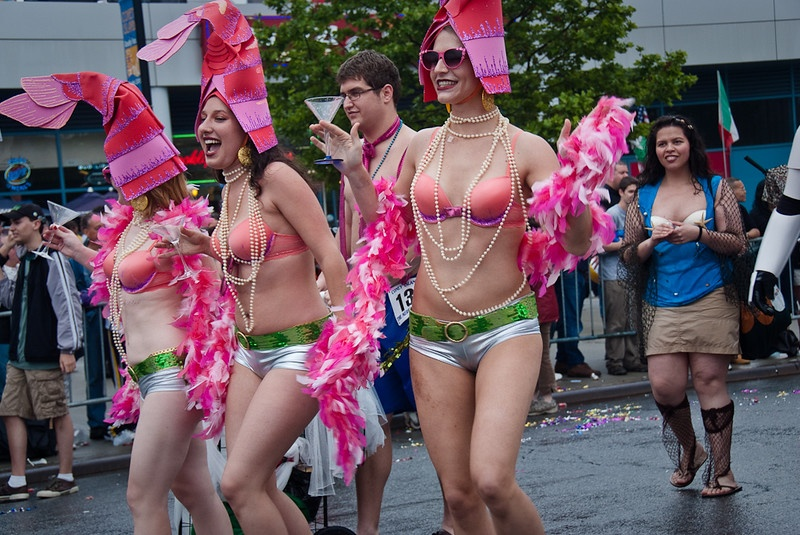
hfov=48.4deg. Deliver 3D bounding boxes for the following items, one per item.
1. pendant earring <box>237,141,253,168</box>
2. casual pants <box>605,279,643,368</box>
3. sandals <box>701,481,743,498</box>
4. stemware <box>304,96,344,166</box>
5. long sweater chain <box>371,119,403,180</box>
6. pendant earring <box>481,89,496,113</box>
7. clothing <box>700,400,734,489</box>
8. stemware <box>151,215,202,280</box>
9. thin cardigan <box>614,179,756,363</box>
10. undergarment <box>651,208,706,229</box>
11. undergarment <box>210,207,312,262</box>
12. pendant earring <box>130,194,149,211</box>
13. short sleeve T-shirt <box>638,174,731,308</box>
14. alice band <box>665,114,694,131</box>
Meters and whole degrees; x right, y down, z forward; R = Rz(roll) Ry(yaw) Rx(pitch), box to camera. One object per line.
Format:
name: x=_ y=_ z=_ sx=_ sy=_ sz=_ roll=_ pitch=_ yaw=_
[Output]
pendant earring: x=-1.024 y=-0.731 z=5.915 sx=0.106 sy=0.128 sz=0.033 roll=-1 pitch=-1 yaw=10
casual pants: x=2.948 y=0.809 z=11.768 sx=0.499 sy=1.189 sz=0.338 roll=14 pitch=-25 yaw=-12
sandals: x=2.601 y=1.773 z=7.159 sx=0.269 sy=0.073 sz=0.132 roll=0 pitch=-5 yaw=-8
stemware: x=-0.492 y=-0.880 z=5.771 sx=0.376 sy=0.472 sz=0.393 roll=-1 pitch=-3 yaw=-5
long sweater chain: x=-0.070 y=-0.957 z=6.966 sx=0.026 sy=0.565 sz=0.163 roll=34 pitch=-16 yaw=-13
pendant earring: x=0.559 y=-1.049 z=5.664 sx=0.095 sy=0.127 sz=0.030 roll=3 pitch=2 yaw=-34
clothing: x=2.594 y=1.467 z=7.229 sx=0.290 sy=0.703 sz=0.337 roll=-3 pitch=5 yaw=19
stemware: x=-1.542 y=-0.107 z=6.107 sx=0.387 sy=0.433 sz=0.371 roll=-18 pitch=3 yaw=-25
thin cardigan: x=2.383 y=-0.045 z=7.452 sx=1.007 sy=1.545 sz=0.854 roll=-5 pitch=-4 yaw=22
undergarment: x=2.283 y=-0.381 z=7.278 sx=0.440 sy=0.131 sz=0.269 roll=-4 pitch=5 yaw=14
undergarment: x=-0.928 y=-0.151 z=5.949 sx=0.661 sy=0.278 sz=0.540 roll=-4 pitch=-9 yaw=-14
pendant earring: x=-1.853 y=-0.452 z=6.259 sx=0.103 sy=0.090 sz=0.117 roll=0 pitch=-7 yaw=-7
short sleeve T-shirt: x=2.400 y=-0.225 z=7.589 sx=0.818 sy=1.113 sz=0.604 roll=-3 pitch=-3 yaw=18
alice band: x=2.381 y=-1.218 z=7.492 sx=0.157 sy=0.056 sz=0.116 roll=22 pitch=30 yaw=8
